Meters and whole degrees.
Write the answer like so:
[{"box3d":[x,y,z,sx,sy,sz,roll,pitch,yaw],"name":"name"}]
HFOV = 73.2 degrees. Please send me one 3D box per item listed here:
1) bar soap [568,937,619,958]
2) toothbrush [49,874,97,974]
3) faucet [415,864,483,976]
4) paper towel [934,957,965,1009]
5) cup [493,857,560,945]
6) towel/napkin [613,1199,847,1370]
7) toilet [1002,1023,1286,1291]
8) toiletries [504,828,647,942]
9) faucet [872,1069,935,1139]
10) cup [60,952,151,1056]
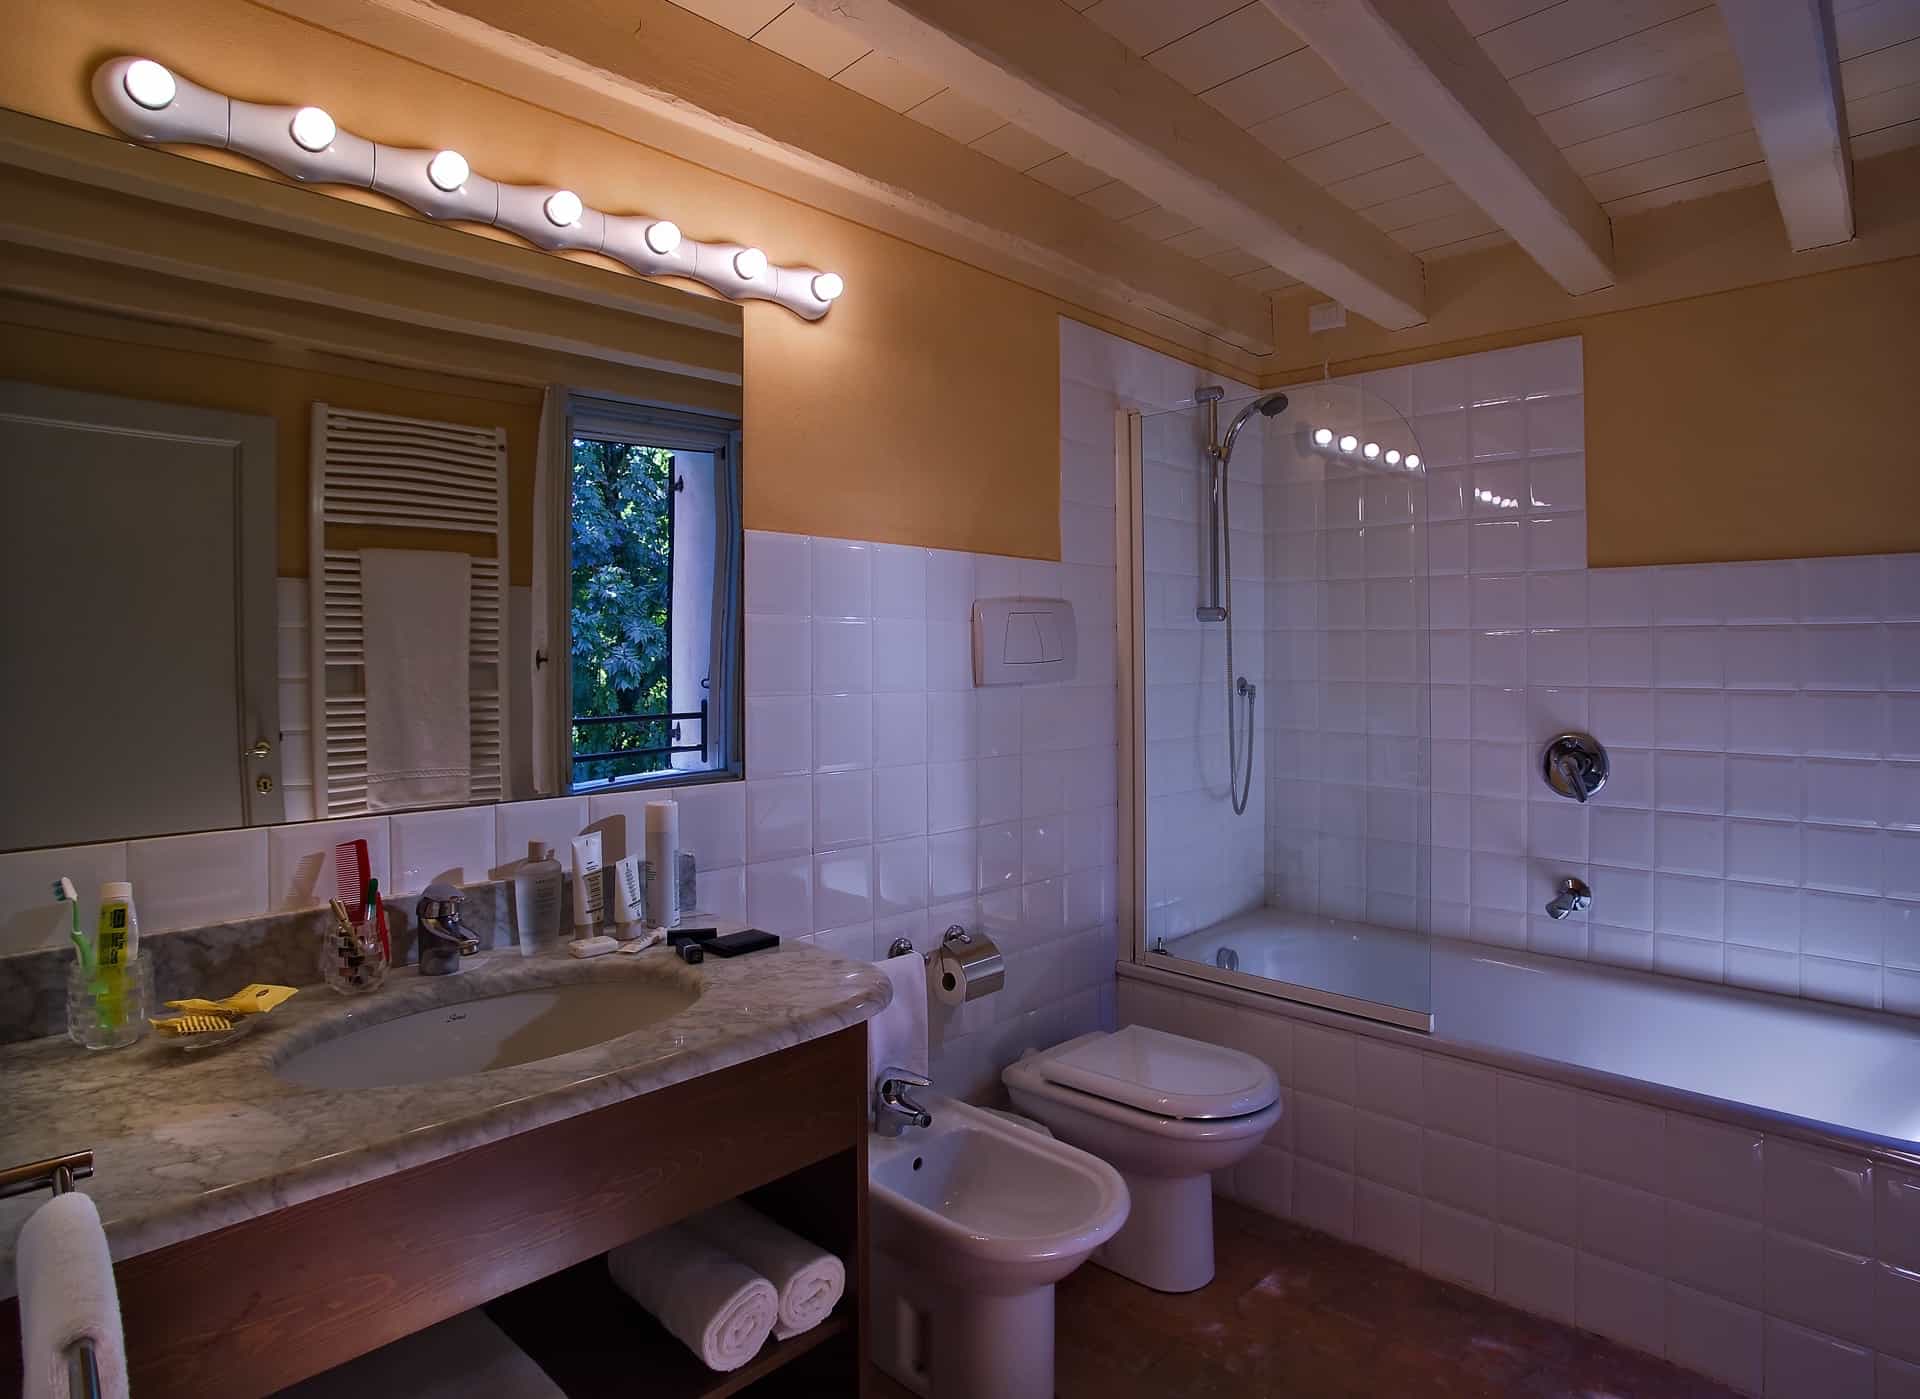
[{"box3d":[-0.680,0.453,2.417,0.089,0.019,0.102,-4,3,-25],"name":"bar soap"},{"box3d":[-1.421,0.359,2.082,0.034,0.153,0.027,-1,20,14],"name":"toothbrush"},{"box3d":[-0.919,0.391,2.323,0.096,0.188,0.058,-4,1,-30],"name":"faucet"},{"box3d":[-0.025,0.649,3.008,0.097,0.091,0.114,-5,5,-2],"name":"paper towel"},{"box3d":[-0.819,0.373,2.453,0.119,0.172,0.071,-3,1,-9],"name":"cup"},{"box3d":[-0.435,0.973,2.261,0.289,0.141,0.233,4,2,44],"name":"towel/napkin"},{"box3d":[0.466,1.153,3.278,0.652,0.526,0.468,4,4,43],"name":"toilet"},{"box3d":[-0.736,0.366,2.498,0.254,0.233,0.170,9,-13,-41],"name":"toiletries"},{"box3d":[-0.101,0.893,2.926,0.093,0.143,0.154,3,5,-42],"name":"faucet"},{"box3d":[-1.332,0.468,2.032,0.131,0.161,0.138,-1,-5,0],"name":"cup"}]
